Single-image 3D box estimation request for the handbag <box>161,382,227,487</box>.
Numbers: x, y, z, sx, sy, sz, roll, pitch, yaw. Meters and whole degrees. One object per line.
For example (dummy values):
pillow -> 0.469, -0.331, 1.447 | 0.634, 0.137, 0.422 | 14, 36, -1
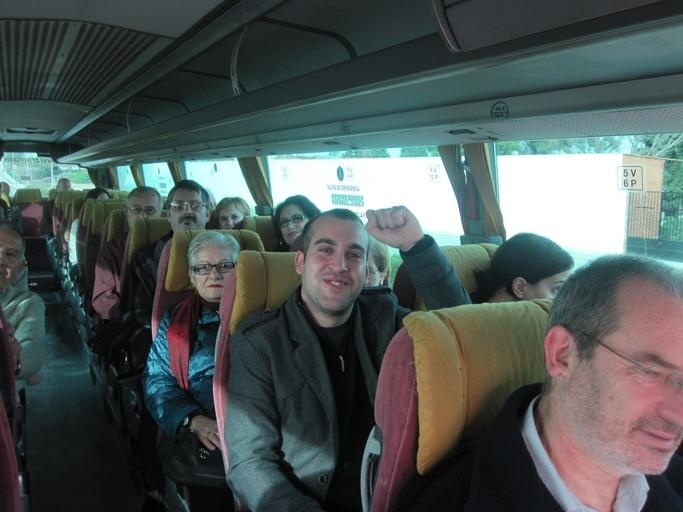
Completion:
handbag -> -0.753, 0.923, 2.738 | 0.465, 0.218, 0.473 | 5, 46, -16
